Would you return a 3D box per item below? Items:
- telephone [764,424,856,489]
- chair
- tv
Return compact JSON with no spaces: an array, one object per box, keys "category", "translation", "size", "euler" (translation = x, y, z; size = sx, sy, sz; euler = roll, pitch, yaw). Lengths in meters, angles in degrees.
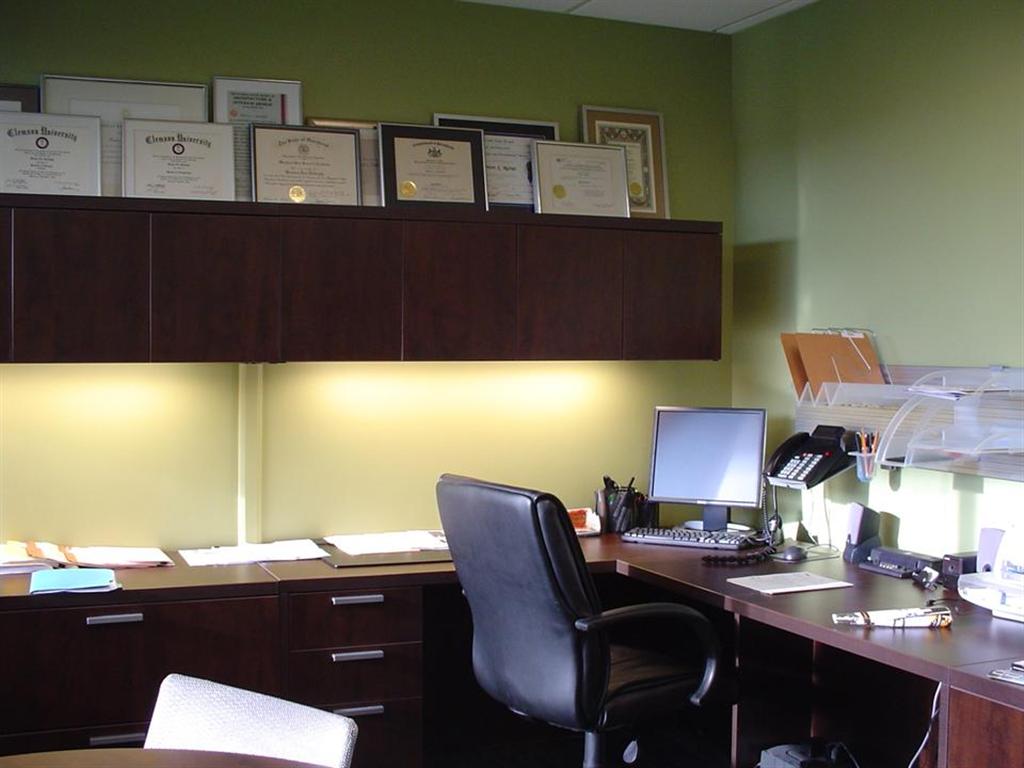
[{"category":"telephone","translation":[1.267,0.290,3.494],"size":[0.385,0.161,0.378],"euler":[-25,9,-20]},{"category":"chair","translation":[0.202,0.698,2.709],"size":[0.865,0.799,0.446],"euler":[-1,2,-6]},{"category":"tv","translation":[0.856,0.358,3.674],"size":[0.509,0.561,0.267],"euler":[-2,-12,23]}]
